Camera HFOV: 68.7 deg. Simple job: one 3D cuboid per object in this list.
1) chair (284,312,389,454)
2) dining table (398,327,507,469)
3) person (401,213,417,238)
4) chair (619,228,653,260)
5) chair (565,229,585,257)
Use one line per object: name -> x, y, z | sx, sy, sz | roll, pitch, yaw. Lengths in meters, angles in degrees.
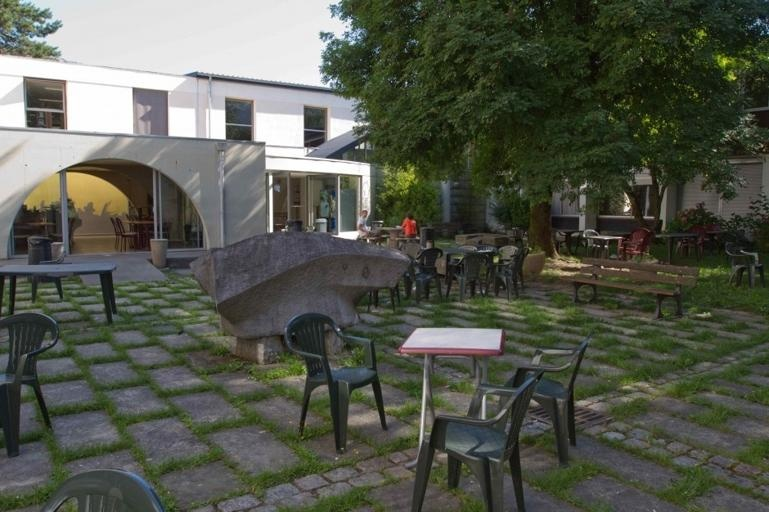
chair -> -0.521, 1.301, 6.460 | 1.051, 1.345, 1.344 | 0, 3, 2
dining table -> 0.662, 1.420, 6.134 | 1.165, 1.494, 1.266 | 0, 0, 4
person -> 0.935, -1.127, 20.643 | 0.474, 0.876, 0.683 | 0, 3, 3
chair -> 7.772, -0.385, 17.510 | 0.860, 0.965, 2.373 | 1, 3, 23
chair -> 7.214, -0.475, 21.396 | 0.950, 0.900, 0.941 | 3, 17, 21
